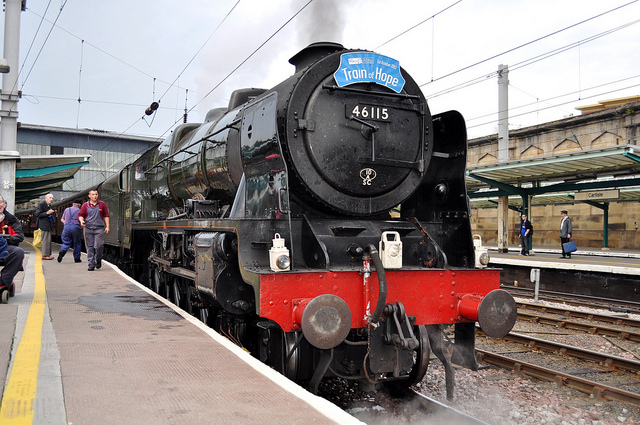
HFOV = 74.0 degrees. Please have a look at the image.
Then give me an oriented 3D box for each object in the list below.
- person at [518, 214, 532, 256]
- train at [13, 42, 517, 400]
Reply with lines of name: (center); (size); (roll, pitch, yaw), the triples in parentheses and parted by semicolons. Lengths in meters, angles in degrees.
person: (9.557, 1.071, 19.632); (0.443, 1.914, 1.471); (5, -2, 27)
train: (-0.872, -0.056, 7.218); (7.382, 4.070, 2.927); (4, -3, 44)
